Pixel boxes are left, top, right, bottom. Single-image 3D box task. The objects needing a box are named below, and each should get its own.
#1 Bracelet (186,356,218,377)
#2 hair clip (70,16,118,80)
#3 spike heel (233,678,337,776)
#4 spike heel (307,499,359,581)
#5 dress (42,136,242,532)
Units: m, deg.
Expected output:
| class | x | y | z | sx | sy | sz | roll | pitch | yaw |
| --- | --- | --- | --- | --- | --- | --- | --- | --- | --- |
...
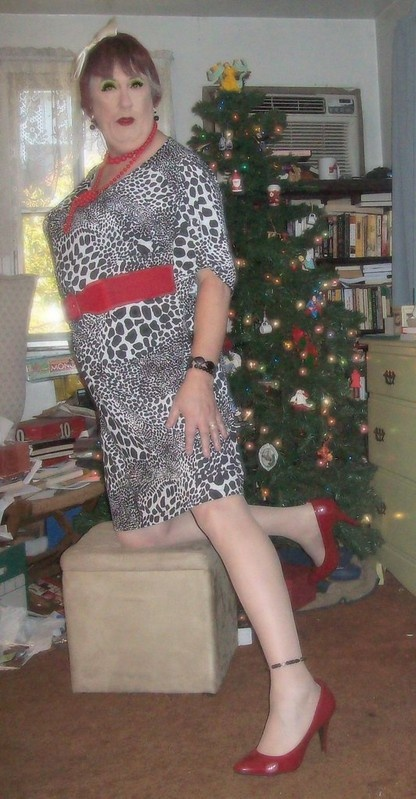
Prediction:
| class | x | y | z | sx | sy | sz | roll | pitch | yaw |
| --- | --- | --- | --- | --- | --- | --- | --- | --- | --- |
| Bracelet | -0.012 | -0.052 | 0.923 | 0.047 | 0.033 | 0.033 | -4 | 0 | -3 |
| hair clip | -0.208 | -0.717 | 1.151 | 0.061 | 0.054 | 0.209 | 23 | 53 | 12 |
| spike heel | 0.137 | 0.571 | 0.969 | 0.203 | 0.138 | 0.060 | -4 | 0 | -32 |
| spike heel | 0.314 | 0.350 | 1.468 | 0.119 | 0.288 | 0.086 | -11 | 17 | -30 |
| dress | -0.146 | -0.138 | 1.115 | 0.377 | 0.830 | 0.261 | 6 | 12 | 30 |
